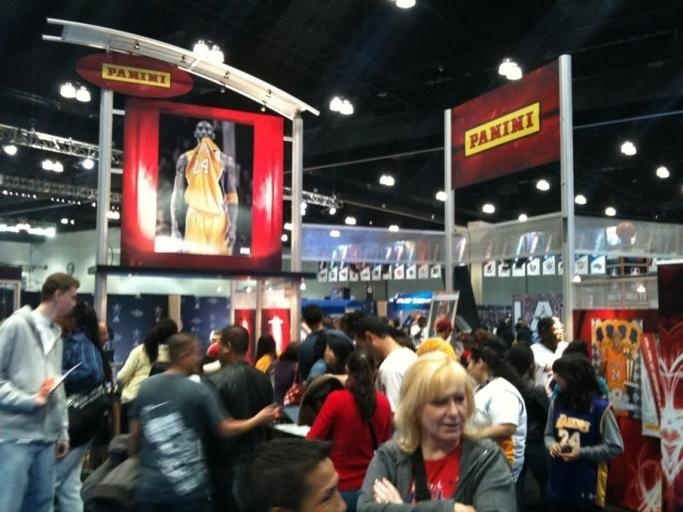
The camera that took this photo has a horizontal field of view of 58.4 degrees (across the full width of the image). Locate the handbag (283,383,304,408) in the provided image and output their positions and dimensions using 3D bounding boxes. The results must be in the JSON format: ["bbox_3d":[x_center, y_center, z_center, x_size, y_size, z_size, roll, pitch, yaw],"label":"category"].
[{"bbox_3d":[-0.500,1.428,6.312,0.199,0.210,0.437,3,-5,-5],"label":"handbag"}]

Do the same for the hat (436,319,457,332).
[{"bbox_3d":[1.366,0.907,8.099,0.272,0.144,0.157,6,-6,-34],"label":"hat"}]

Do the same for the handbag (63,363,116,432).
[{"bbox_3d":[-2.196,1.253,5.260,0.381,0.576,0.567,11,34,-34],"label":"handbag"}]
